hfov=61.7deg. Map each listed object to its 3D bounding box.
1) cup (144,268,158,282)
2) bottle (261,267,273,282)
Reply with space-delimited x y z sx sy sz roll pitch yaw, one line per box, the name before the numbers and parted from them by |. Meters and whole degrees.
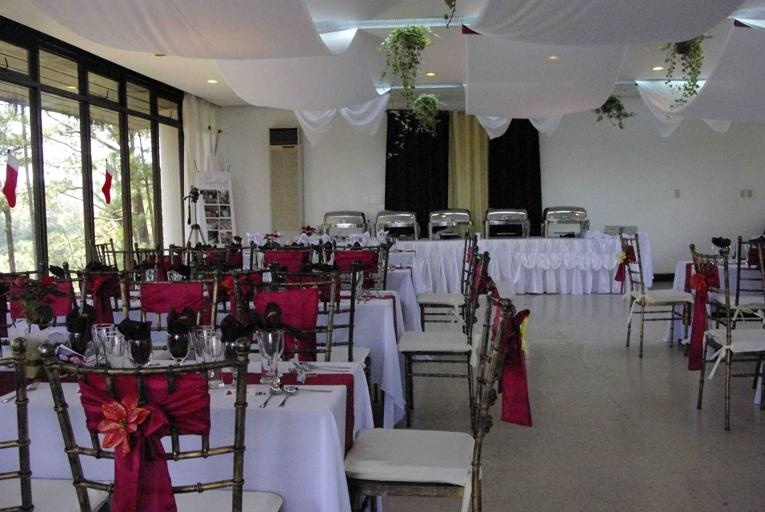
cup | -2.288 0.184 6.327 0.096 0.202 0.103 2 2 0
bottle | -0.926 0.149 5.125 0.060 0.070 0.117 2 6 -3
